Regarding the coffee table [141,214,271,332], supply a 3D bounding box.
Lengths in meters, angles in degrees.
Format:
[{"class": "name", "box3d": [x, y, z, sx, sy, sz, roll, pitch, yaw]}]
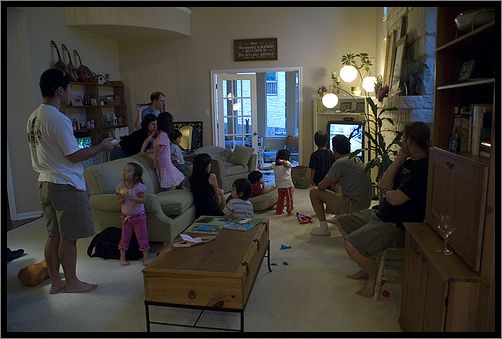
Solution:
[{"class": "coffee table", "box3d": [-0.400, 0.989, 3.119, 0.942, 0.685, 1.110, 0, 11, 15]}]

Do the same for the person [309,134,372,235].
[{"class": "person", "box3d": [1.216, 0.202, 4.424, 0.756, 1.304, 0.778, -6, 6, -39]}]

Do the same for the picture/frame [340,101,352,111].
[{"class": "picture/frame", "box3d": [2.036, -1.349, 7.061, 0.233, 0.211, 0.056, 0, -4, 5]}]

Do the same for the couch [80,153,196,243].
[{"class": "couch", "box3d": [-1.414, 0.370, 4.401, 1.174, 1.017, 1.322, 0, 12, 6]}]

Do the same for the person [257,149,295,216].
[{"class": "person", "box3d": [0.502, 0.197, 5.200, 0.285, 1.014, 0.281, -2, 11, 4]}]

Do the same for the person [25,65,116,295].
[{"class": "person", "box3d": [-1.815, 0.300, 3.244, 0.683, 1.860, 0.296, -3, 11, 3]}]

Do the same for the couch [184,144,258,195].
[{"class": "couch", "box3d": [-0.612, -0.087, 6.599, 1.025, 0.913, 1.073, 1, 4, 37]}]

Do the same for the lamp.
[{"class": "lamp", "box3d": [1.944, -0.758, 7.010, 1.161, 1.678, 0.541, 6, 5, 42]}]

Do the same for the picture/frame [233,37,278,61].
[{"class": "picture/frame", "box3d": [0.098, -2.688, 7.428, 0.995, 0.504, 0.042, -2, 12, 7]}]

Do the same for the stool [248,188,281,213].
[{"class": "stool", "box3d": [0.169, 0.473, 5.334, 0.331, 0.217, 0.451, -2, 9, 29]}]
